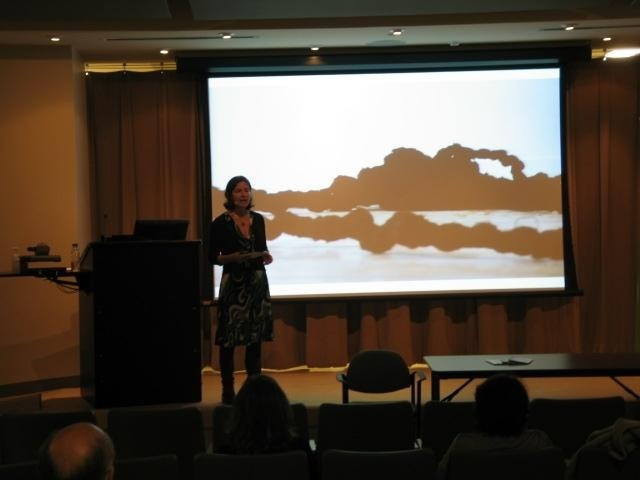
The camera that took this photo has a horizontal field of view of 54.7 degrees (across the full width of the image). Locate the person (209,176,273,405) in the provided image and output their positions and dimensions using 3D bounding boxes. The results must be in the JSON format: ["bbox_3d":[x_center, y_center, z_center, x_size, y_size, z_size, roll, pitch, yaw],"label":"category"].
[{"bbox_3d":[-0.714,0.468,5.574,0.568,2.061,0.422,0,1,-8],"label":"person"}]

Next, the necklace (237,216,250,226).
[{"bbox_3d":[-0.697,-0.167,5.582,0.075,0.084,0.030,1,-3,-20],"label":"necklace"}]

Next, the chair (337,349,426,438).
[{"bbox_3d":[0.482,1.175,4.956,0.635,0.912,0.571,0,-5,1],"label":"chair"}]
